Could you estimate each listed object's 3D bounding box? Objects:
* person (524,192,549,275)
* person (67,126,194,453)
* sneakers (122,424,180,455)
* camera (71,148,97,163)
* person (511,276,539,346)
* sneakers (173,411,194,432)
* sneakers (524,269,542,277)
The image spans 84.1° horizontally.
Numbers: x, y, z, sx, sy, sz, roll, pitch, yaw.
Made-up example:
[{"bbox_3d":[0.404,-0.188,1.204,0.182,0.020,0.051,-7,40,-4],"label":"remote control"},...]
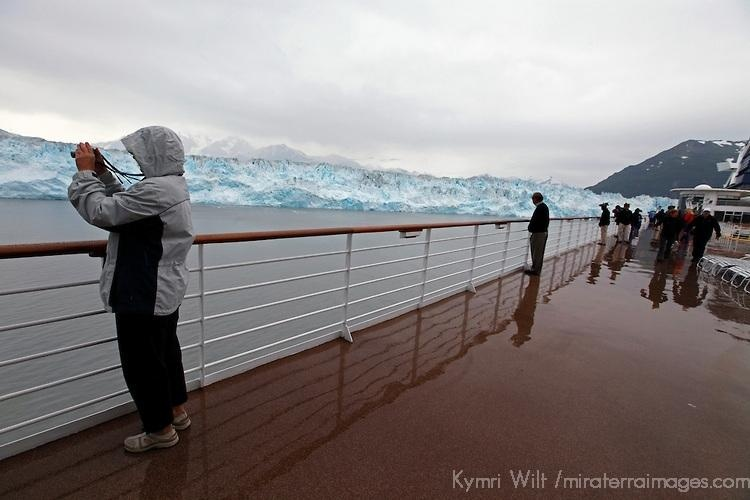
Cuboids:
[{"bbox_3d":[2.981,-0.308,7.707,0.402,1.542,0.843,11,15,21],"label":"person"},{"bbox_3d":[-1.807,0.312,3.217,0.770,2.500,0.572,6,14,4],"label":"person"},{"bbox_3d":[-1.745,1.505,3.289,0.397,0.148,0.173,4,-2,-19],"label":"sneakers"},{"bbox_3d":[-2.138,-0.707,3.059,0.123,0.043,0.116,4,-15,-22],"label":"camera"},{"bbox_3d":[2.165,0.836,5.979,0.272,0.073,2.749,10,14,22],"label":"person"},{"bbox_3d":[-1.583,1.426,3.437,0.088,0.073,0.185,2,0,-27],"label":"sneakers"},{"bbox_3d":[2.964,0.434,7.853,0.316,0.106,0.137,2,-2,42],"label":"sneakers"}]
